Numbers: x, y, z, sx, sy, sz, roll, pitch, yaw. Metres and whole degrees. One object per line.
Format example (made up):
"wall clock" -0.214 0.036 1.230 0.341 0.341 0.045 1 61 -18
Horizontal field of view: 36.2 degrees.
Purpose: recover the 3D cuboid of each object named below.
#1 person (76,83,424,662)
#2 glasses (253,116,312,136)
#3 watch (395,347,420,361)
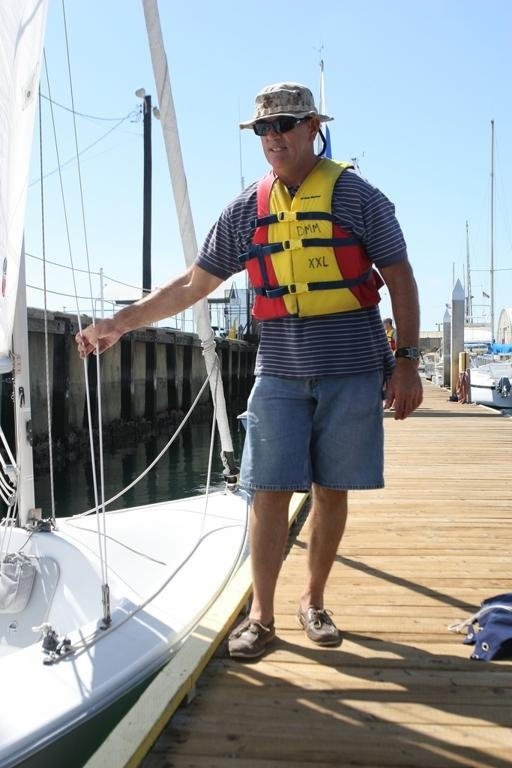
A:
"person" 0.078 -0.039 2.365 0.822 1.657 0.277 -1 1 11
"glasses" 0.075 -0.737 2.242 0.168 0.055 0.063 -1 1 7
"watch" 0.447 -0.087 2.275 0.059 0.038 0.063 2 -2 5
